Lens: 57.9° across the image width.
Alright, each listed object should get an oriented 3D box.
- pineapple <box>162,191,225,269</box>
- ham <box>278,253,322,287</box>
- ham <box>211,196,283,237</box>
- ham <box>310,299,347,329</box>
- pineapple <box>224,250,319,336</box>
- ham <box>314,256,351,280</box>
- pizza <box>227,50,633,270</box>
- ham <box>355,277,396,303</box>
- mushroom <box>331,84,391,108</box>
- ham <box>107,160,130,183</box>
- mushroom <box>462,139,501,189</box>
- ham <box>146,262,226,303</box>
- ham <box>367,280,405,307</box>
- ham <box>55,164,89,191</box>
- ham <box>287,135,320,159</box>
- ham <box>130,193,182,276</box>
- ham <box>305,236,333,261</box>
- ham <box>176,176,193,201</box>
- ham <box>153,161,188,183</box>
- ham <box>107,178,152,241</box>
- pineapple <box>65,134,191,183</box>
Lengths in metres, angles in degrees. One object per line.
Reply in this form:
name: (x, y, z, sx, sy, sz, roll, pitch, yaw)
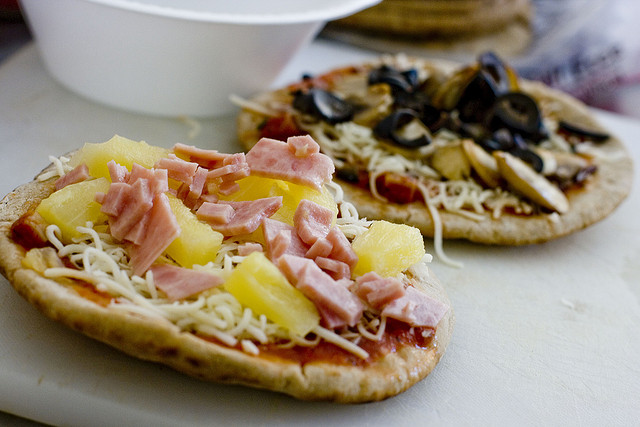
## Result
pineapple: (-0.289, 0.031, 1.426, 0.209, 0.137, 0.139, -2, 14, 2)
ham: (-0.061, 0.118, 1.311, 0.073, 0.022, 0.077, 26, 50, -8)
ham: (-0.179, -0.003, 1.434, 0.174, 0.043, 0.178, -9, 33, 5)
ham: (0.018, 0.217, 1.312, 0.059, 0.060, 0.020, 34, 93, 15)
pineapple: (-0.106, 0.184, 1.302, 0.224, 0.114, 0.095, 28, 57, 17)
ham: (0.032, 0.127, 1.350, 0.057, 0.016, 0.060, 35, 14, 14)
pizza: (0.411, -0.233, 2.344, 1.701, 0.712, 0.540, -7, 30, -7)
ham: (0.120, 0.171, 1.339, 0.056, 0.017, 0.062, 6, 39, 30)
mushroom: (0.159, -0.443, 2.150, 0.163, 0.082, 0.261, 1, 17, -2)
ham: (-0.477, -0.096, 1.378, 0.050, 0.015, 0.057, -6, 70, -44)
mushroom: (0.541, -0.174, 1.978, 0.174, 0.136, 0.097, -7, 21, 0)
ham: (-0.311, 0.163, 1.311, 0.180, 0.035, 0.080, 16, 55, 8)
ham: (0.150, 0.186, 1.331, 0.085, 0.049, 0.029, -13, 55, -12)
ham: (-0.608, -0.089, 1.422, 0.082, 0.020, 0.050, -31, 42, 14)
ham: (-0.046, -0.175, 1.481, 0.062, 0.017, 0.064, -21, 46, -24)
ham: (-0.370, 0.062, 1.349, 0.160, 0.040, 0.153, -54, 40, 7)
ham: (-0.001, 0.084, 1.365, 0.044, 0.032, 0.023, -54, 35, -4)
ham: (-0.329, -0.062, 1.414, 0.014, 0.052, 0.048, 33, 35, 3)
ham: (-0.353, -0.094, 1.413, 0.056, 0.053, 0.016, 19, 66, -5)
ham: (-0.438, -0.007, 1.339, 0.126, 0.034, 0.125, -51, 36, 9)
pineapple: (-0.483, -0.170, 1.462, 0.272, 0.111, 0.226, -13, 20, -43)
